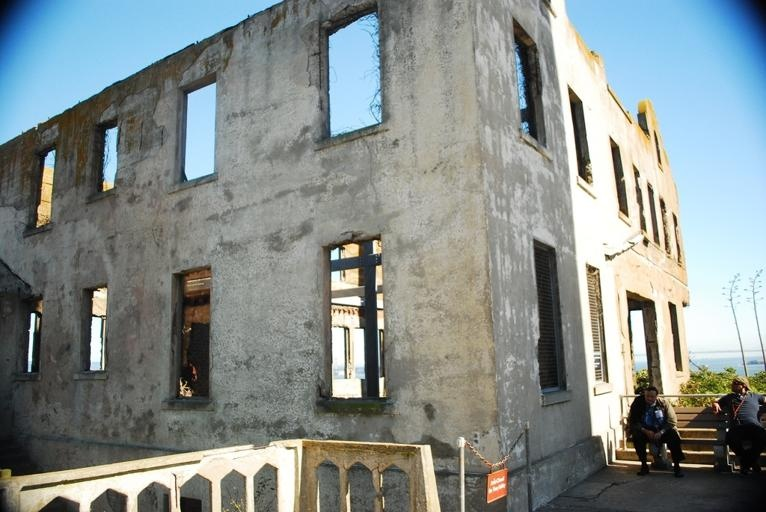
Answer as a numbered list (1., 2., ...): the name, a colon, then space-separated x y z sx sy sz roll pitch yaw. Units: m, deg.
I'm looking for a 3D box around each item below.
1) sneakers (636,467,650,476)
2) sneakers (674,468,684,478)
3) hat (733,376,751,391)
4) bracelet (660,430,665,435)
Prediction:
1. sneakers: 5.632 4.657 14.268 0.309 0.184 0.246 -6 -15 4
2. sneakers: 6.268 4.580 13.942 0.241 0.213 0.172 -4 -14 -3
3. hat: 7.730 2.724 14.281 0.266 0.277 0.352 29 -13 -14
4. bracelet: 6.014 3.825 14.262 0.146 0.110 0.046 -2 -14 -12
